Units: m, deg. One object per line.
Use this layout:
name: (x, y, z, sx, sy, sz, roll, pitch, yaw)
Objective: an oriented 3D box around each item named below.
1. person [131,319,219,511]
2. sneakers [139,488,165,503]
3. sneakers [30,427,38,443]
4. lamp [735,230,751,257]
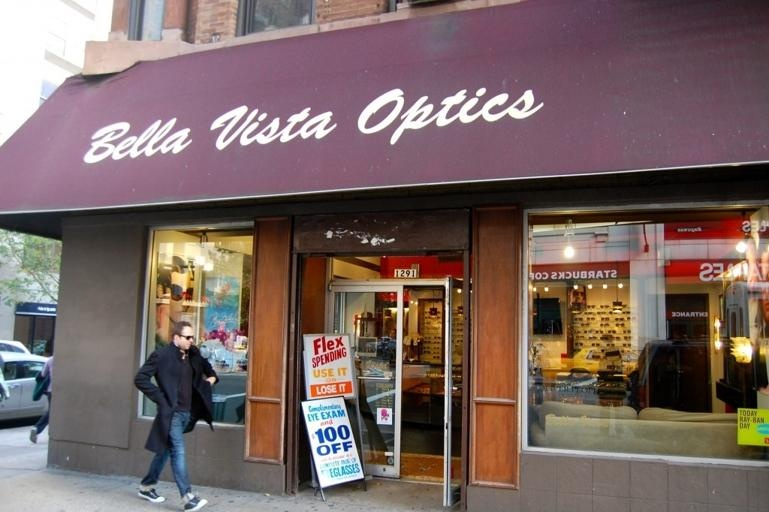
person: (-3.007, 2.265, 9.880, 1.076, 2.618, 0.587, 3, -6, -14)
sneakers: (-3.382, 3.440, 9.973, 0.405, 0.197, 0.166, 3, -5, 12)
sneakers: (-6.467, 3.305, 12.682, 0.109, 0.298, 0.316, 4, -6, -24)
lamp: (4.837, -0.147, 9.410, 0.183, 0.325, 0.313, -2, 2, -13)
